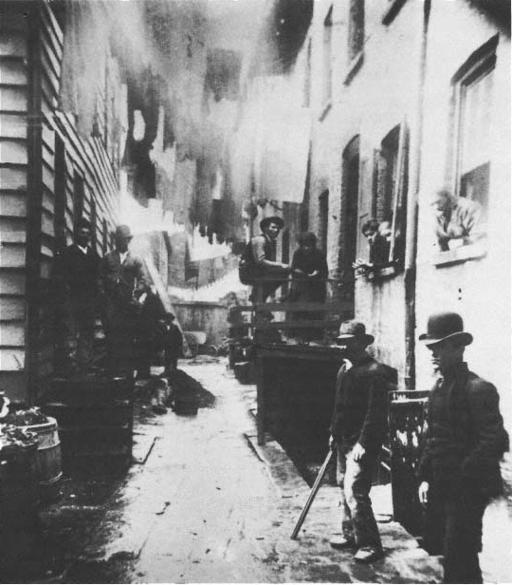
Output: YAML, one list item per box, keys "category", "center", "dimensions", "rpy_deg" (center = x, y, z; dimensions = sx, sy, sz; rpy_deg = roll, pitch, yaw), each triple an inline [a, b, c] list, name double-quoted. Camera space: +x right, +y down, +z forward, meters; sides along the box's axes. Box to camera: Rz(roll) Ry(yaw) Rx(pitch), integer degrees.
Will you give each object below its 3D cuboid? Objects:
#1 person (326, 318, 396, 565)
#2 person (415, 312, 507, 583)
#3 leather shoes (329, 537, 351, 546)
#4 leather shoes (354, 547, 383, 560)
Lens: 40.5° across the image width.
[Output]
- category: "person"
  center: [0.827, 1.172, 5.562]
  dimensions: [0.495, 1.897, 0.594]
  rpy_deg: [-1, -1, 12]
- category: "person"
  center: [1.472, 1.155, 5.014]
  dimensions: [0.347, 2.033, 0.821]
  rpy_deg: [0, -1, -22]
- category: "leather shoes"
  center: [0.693, 2.017, 5.644]
  dimensions: [0.126, 0.072, 0.082]
  rpy_deg: [-4, 2, -2]
- category: "leather shoes"
  center: [0.892, 2.056, 5.453]
  dimensions: [0.169, 0.092, 0.106]
  rpy_deg: [4, -20, -13]
